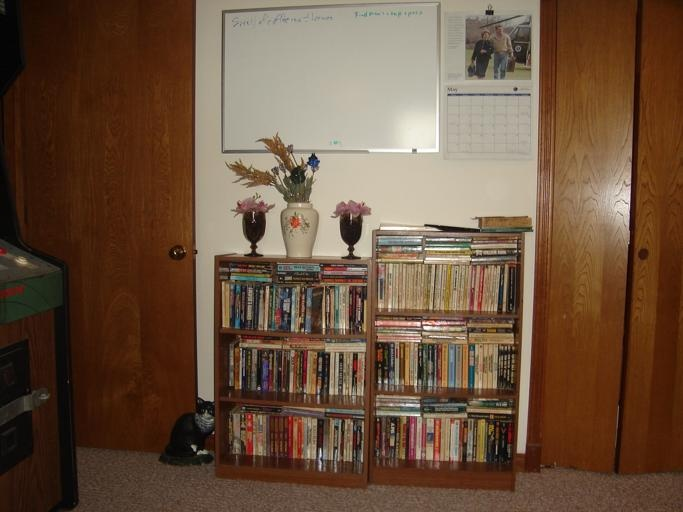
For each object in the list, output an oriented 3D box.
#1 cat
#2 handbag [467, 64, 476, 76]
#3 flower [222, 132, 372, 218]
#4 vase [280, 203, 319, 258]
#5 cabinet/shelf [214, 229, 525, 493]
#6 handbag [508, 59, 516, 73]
[{"bbox_3d":[-0.866,1.014,3.938,0.320,0.380,0.303,4,-6,-15],"label":"cat"},{"bbox_3d":[0.750,-1.047,3.858,0.037,0.064,0.021,2,0,8],"label":"handbag"},{"bbox_3d":[-0.296,-0.444,3.832,0.481,0.293,0.645,-2,6,-38],"label":"flower"},{"bbox_3d":[-0.228,-0.141,3.863,0.231,0.306,0.228,-1,2,-41],"label":"vase"},{"bbox_3d":[0.205,0.590,3.765,1.141,1.170,0.373,0,5,4],"label":"cabinet/shelf"},{"bbox_3d":[0.966,-1.070,3.841,0.061,0.093,0.051,1,3,9],"label":"handbag"}]
